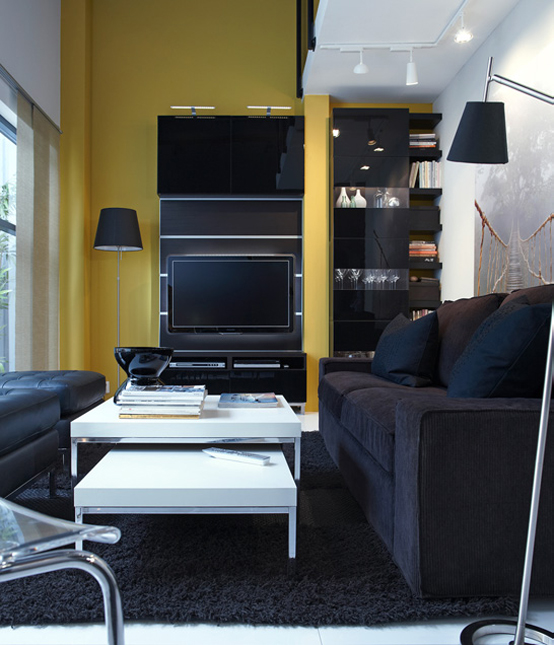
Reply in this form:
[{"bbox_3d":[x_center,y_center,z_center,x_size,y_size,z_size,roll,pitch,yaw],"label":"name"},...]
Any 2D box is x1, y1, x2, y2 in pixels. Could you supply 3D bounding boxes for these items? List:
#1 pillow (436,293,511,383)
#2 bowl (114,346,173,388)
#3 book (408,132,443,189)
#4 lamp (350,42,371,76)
[{"bbox_3d":[0.794,0.070,2.628,0.124,0.259,0.369,32,7,-6],"label":"pillow"},{"bbox_3d":[-0.529,0.172,2.553,0.157,0.116,0.168,1,-2,0],"label":"bowl"},{"bbox_3d":[1.210,-1.305,5.368,0.332,0.552,0.166,-2,-3,3],"label":"book"},{"bbox_3d":[0.555,-1.799,4.481,0.120,0.245,0.121,-15,22,-38],"label":"lamp"}]
